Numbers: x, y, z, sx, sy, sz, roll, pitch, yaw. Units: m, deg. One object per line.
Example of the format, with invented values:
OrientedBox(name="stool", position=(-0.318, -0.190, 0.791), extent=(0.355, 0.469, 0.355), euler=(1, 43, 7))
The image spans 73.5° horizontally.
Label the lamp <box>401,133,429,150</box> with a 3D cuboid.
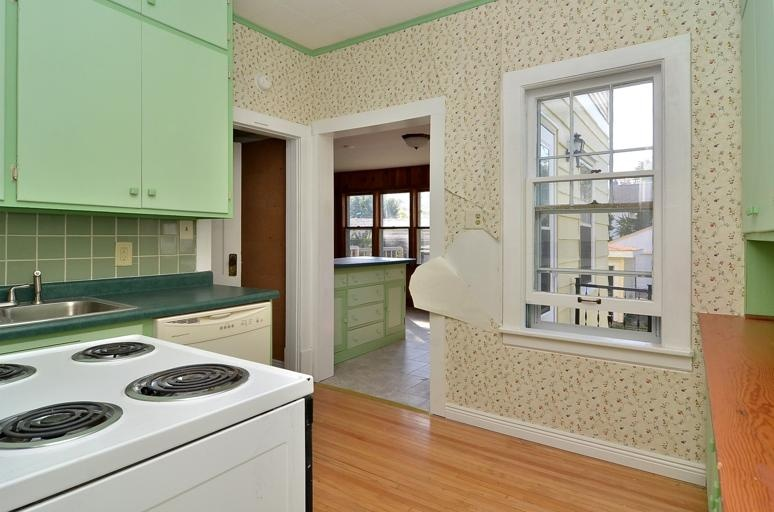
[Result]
OrientedBox(name="lamp", position=(0.370, -1.468, 6.581), extent=(0.249, 0.179, 0.372), euler=(7, 14, 28))
